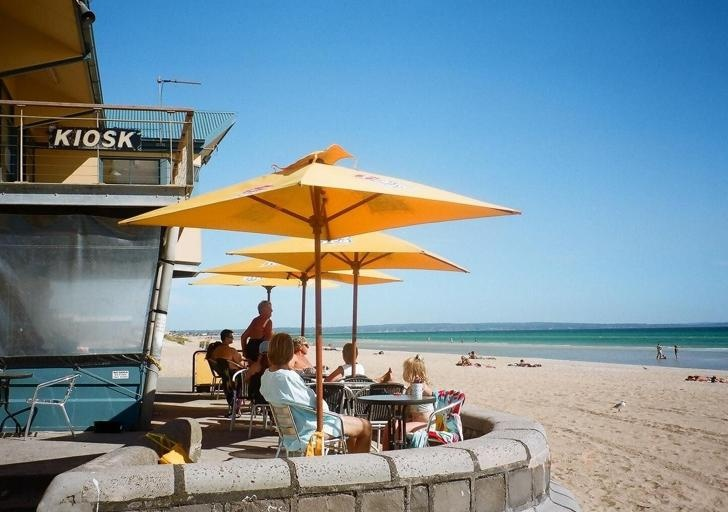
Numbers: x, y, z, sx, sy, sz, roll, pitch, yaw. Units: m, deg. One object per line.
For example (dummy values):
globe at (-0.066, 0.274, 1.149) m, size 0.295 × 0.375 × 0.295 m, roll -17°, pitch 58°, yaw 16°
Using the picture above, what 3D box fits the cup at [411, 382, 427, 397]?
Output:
cup at (0.684, 1.597, 7.185) m, size 0.196 × 0.166 × 0.122 m, roll 2°, pitch -4°, yaw -18°

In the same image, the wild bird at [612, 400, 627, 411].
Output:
wild bird at (6.720, 3.936, 15.798) m, size 0.378 × 0.243 × 0.174 m, roll 24°, pitch -14°, yaw -18°

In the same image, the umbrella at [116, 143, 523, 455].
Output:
umbrella at (-0.548, 0.001, 7.524) m, size 3.873 × 2.746 × 3.600 m, roll -1°, pitch -4°, yaw -6°

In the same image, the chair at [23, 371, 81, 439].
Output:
chair at (-4.644, 2.206, 8.959) m, size 0.807 × 0.903 × 0.844 m, roll -10°, pitch -15°, yaw 35°
